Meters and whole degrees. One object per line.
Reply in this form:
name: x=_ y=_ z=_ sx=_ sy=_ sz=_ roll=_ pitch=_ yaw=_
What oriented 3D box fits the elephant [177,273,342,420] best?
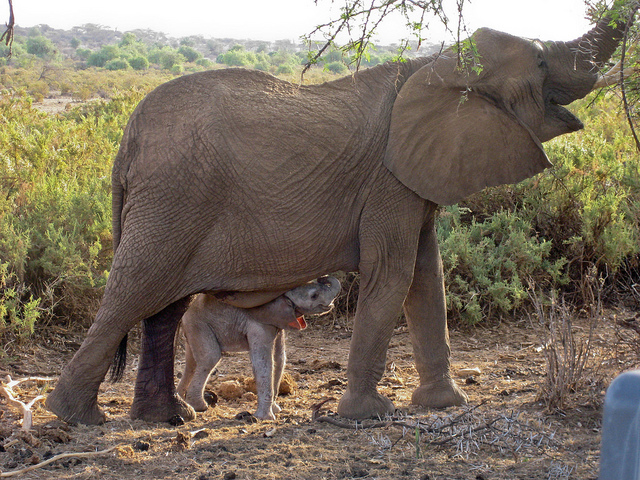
elephant: x=-0.446 y=0.892 z=6.824 sx=1.757 sy=1.252 sz=0.782 roll=-2 pitch=10 yaw=31
